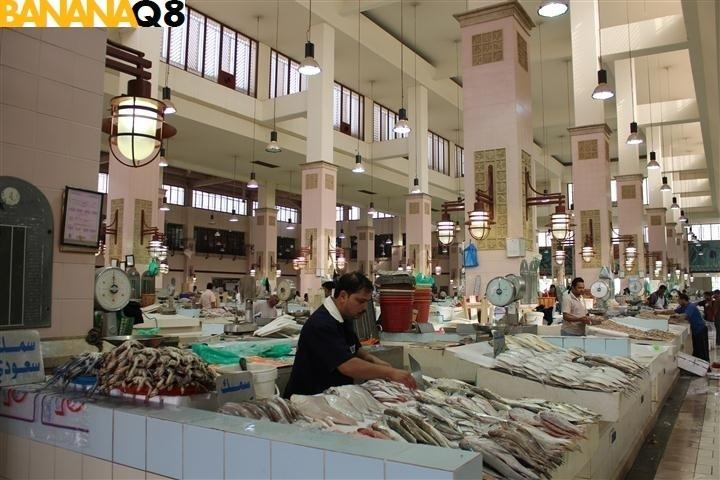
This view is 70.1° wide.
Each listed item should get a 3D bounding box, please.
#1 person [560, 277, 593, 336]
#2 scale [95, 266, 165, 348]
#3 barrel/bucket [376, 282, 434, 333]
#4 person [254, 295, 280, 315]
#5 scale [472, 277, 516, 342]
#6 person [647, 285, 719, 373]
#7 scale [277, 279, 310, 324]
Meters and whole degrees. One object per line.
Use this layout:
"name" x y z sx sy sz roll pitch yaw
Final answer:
"person" 3.378 1.013 8.010 0.408 0.851 0.954 2 -2 23
"scale" -2.147 0.558 4.565 0.392 0.536 1.008 3 -2 -24
"barrel/bucket" 0.520 0.776 5.776 0.399 0.388 0.601 1 -16 1
"person" -1.552 1.058 8.511 0.334 0.414 1.059 3 -2 -13
"scale" 1.710 0.855 5.984 0.395 0.843 0.390 -4 3 42
"person" 7.291 1.907 11.246 0.733 1.428 1.498 2 -2 21
"scale" -1.334 1.172 10.250 0.545 0.676 0.385 -7 1 19
